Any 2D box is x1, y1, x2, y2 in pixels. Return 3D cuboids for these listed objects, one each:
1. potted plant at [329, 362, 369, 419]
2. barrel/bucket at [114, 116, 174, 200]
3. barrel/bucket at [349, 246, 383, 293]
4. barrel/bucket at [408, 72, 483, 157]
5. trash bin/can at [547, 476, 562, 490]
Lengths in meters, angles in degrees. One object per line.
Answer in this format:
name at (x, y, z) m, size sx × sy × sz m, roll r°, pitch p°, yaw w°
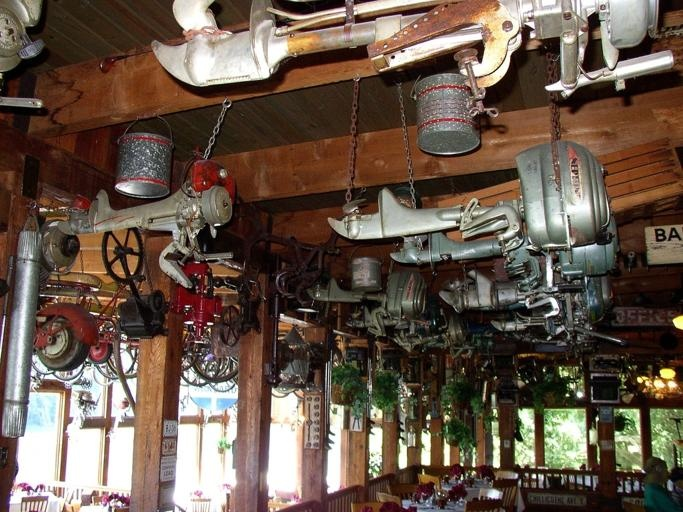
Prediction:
potted plant at (0.186, 2.145, 9.201) m, size 0.772 × 0.820 × 0.880 m, roll 0°, pitch -21°, yaw 11°
barrel/bucket at (-1.447, -0.694, 4.238) m, size 0.378 × 0.417 × 0.393 m, roll -2°, pitch -17°, yaw 0°
barrel/bucket at (0.241, 0.126, 5.500) m, size 0.382 × 0.534 × 0.320 m, roll -2°, pitch -28°, yaw 3°
barrel/bucket at (0.663, -0.976, 3.958) m, size 0.482 × 0.521 × 0.491 m, roll 1°, pitch -26°, yaw 0°
trash bin/can at (4.580, 4.857, 12.400) m, size 0.269 × 0.495 × 0.271 m, roll -3°, pitch -21°, yaw 19°
